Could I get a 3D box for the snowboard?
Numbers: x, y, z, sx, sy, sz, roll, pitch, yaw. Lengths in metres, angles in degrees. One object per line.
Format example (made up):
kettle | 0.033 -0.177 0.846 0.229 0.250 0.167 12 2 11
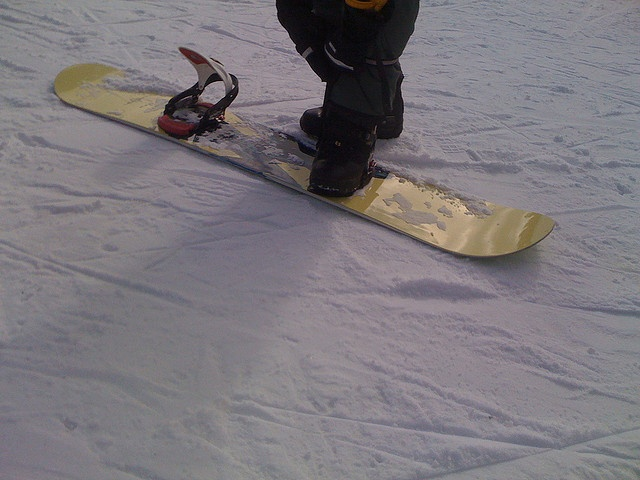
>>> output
snowboard | -0.176 -0.549 4.179 4.813 0.566 0.637 14 47 13
